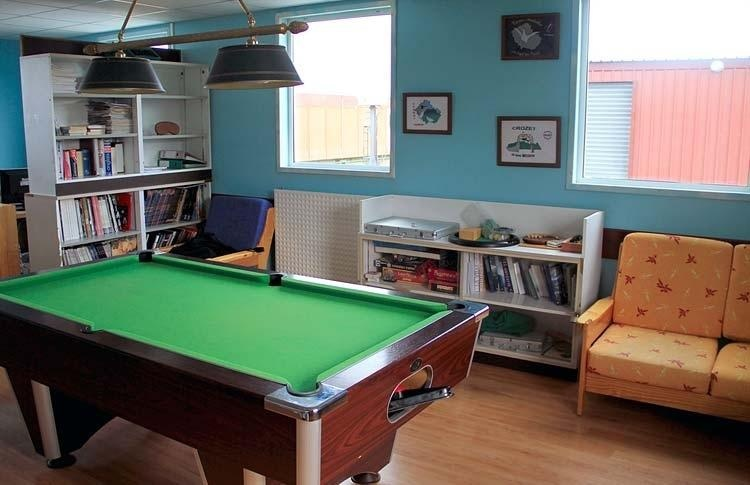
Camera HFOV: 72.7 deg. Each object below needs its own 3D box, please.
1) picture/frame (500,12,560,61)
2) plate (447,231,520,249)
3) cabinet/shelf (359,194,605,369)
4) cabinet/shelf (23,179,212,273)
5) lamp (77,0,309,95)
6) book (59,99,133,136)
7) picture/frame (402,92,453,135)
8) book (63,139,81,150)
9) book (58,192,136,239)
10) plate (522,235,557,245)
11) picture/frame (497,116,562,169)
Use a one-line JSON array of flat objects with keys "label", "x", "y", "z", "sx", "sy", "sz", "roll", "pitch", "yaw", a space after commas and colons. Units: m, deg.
[{"label": "picture/frame", "x": 1.391, "y": -1.832, "z": 4.481, "sx": 0.544, "sy": 0.352, "sz": 0.078, "roll": 7, "pitch": 20, "yaw": 28}, {"label": "plate", "x": 0.959, "y": -0.020, "z": 4.480, "sx": 0.602, "sy": 0.088, "sz": 0.267, "roll": 3, "pitch": 12, "yaw": 11}, {"label": "cabinet/shelf", "x": 0.944, "y": 0.270, "z": 4.629, "sx": 1.898, "sy": 0.950, "sz": 0.474, "roll": 6, "pitch": 14, "yaw": 29}, {"label": "cabinet/shelf", "x": -3.013, "y": -0.207, "z": 5.751, "sx": 0.471, "sy": 0.735, "sz": 1.454, "roll": 10, "pitch": 13, "yaw": 22}, {"label": "lamp", "x": -1.052, "y": -1.129, "z": 2.838, "sx": 1.479, "sy": 0.532, "sz": 0.536, "roll": 9, "pitch": 16, "yaw": 34}, {"label": "book", "x": -3.001, "y": -1.328, "z": 5.470, "sx": 0.659, "sy": 0.178, "sz": 0.475, "roll": -5, "pitch": 9, "yaw": -36}, {"label": "picture/frame", "x": 0.517, "y": -1.282, "z": 5.003, "sx": 0.607, "sy": 0.395, "sz": 0.025, "roll": 14, "pitch": 26, "yaw": 42}, {"label": "book", "x": -3.257, "y": -1.061, "z": 5.452, "sx": 0.067, "sy": 0.101, "sz": 0.165, "roll": 12, "pitch": 17, "yaw": 39}, {"label": "book", "x": -3.025, "y": -0.286, "z": 5.551, "sx": 0.208, "sy": 0.444, "sz": 0.731, "roll": 9, "pitch": 15, "yaw": 31}, {"label": "plate", "x": 1.460, "y": -0.025, "z": 4.499, "sx": 0.251, "sy": 0.059, "sz": 0.266, "roll": 9, "pitch": 14, "yaw": 34}, {"label": "picture/frame", "x": 1.386, "y": -0.925, "z": 4.625, "sx": 0.682, "sy": 0.445, "sz": 0.023, "roll": -4, "pitch": 12, "yaw": -18}]
